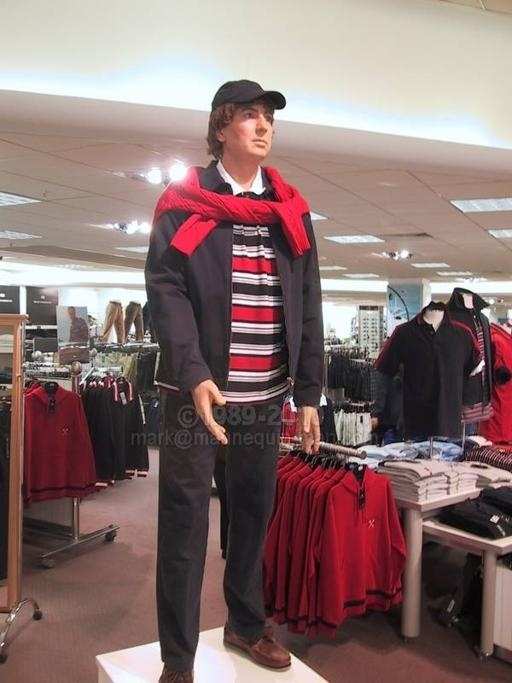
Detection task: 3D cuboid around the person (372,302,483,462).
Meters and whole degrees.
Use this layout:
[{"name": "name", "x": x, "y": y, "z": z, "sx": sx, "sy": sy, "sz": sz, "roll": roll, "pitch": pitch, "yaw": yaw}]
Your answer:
[{"name": "person", "x": 1.151, "y": 0.202, "z": 3.340, "sx": 0.665, "sy": 0.929, "sz": 0.378, "roll": 0, "pitch": -2, "yaw": 20}]

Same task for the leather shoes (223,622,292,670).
[{"name": "leather shoes", "x": 0.006, "y": 0.754, "z": 1.261, "sx": 0.180, "sy": 0.077, "sz": 0.064, "roll": -2, "pitch": -13, "yaw": 41}]

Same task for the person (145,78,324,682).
[{"name": "person", "x": -0.043, "y": 0.129, "z": 1.079, "sx": 0.301, "sy": 1.313, "sz": 0.473, "roll": -1, "pitch": -3, "yaw": 34}]

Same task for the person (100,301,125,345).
[{"name": "person", "x": -2.123, "y": -0.288, "z": 7.371, "sx": 0.326, "sy": 0.632, "sz": 0.911, "roll": 1, "pitch": -2, "yaw": -15}]

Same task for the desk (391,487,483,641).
[{"name": "desk", "x": 0.896, "y": 1.136, "z": 2.775, "sx": 0.579, "sy": 0.471, "sz": 0.631, "roll": -1, "pitch": 1, "yaw": -35}]

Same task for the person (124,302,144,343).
[{"name": "person", "x": -2.036, "y": -0.327, "z": 8.167, "sx": 0.289, "sy": 0.632, "sz": 1.080, "roll": 1, "pitch": -2, "yaw": -15}]

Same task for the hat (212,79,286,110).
[{"name": "hat", "x": -0.025, "y": -0.513, "z": 1.002, "sx": 0.114, "sy": 0.044, "sz": 0.076, "roll": -5, "pitch": 3, "yaw": 30}]
